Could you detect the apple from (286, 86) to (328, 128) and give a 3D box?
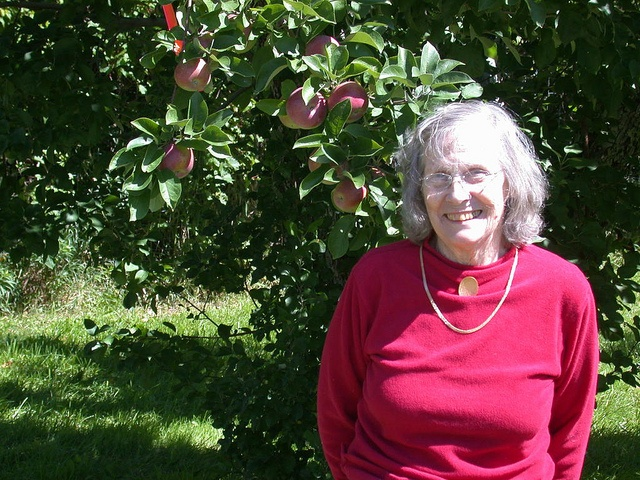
[{"bbox_3d":[-0.042,-0.390,2.158,0.098,0.117,0.102,-1,11,-31],"label":"apple"}]

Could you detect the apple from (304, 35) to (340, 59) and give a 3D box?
[{"bbox_3d":[0.002,-0.578,2.159,0.090,0.068,0.141,4,9,-6],"label":"apple"}]

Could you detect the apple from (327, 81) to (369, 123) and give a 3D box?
[{"bbox_3d":[0.081,-0.397,2.144,0.121,0.109,0.072,-28,9,-20],"label":"apple"}]

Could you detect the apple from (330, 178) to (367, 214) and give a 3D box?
[{"bbox_3d":[0.089,-0.138,2.250,0.109,0.109,0.106,5,9,2],"label":"apple"}]

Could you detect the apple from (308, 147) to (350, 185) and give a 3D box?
[{"bbox_3d":[0.021,-0.223,2.192,0.112,0.054,0.087,18,-25,-17],"label":"apple"}]

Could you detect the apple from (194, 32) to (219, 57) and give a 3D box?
[{"bbox_3d":[-0.348,-0.588,2.171,0.066,0.066,0.060,-1,13,-11],"label":"apple"}]
